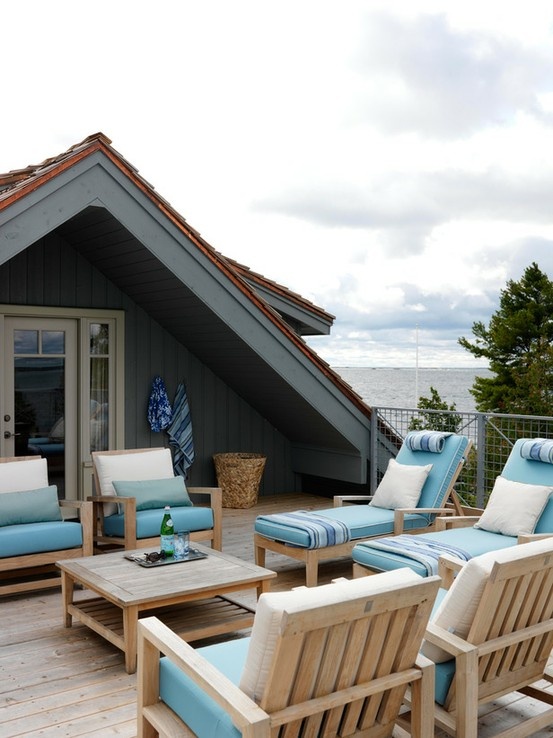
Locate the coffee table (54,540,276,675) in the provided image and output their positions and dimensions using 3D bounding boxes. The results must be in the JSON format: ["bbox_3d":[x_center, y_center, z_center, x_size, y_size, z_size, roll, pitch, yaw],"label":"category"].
[{"bbox_3d":[-0.488,1.104,3.158,0.753,0.295,0.746,3,-3,-33],"label":"coffee table"}]

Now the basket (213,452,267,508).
[{"bbox_3d":[-0.424,1.229,7.156,0.613,0.512,0.578,1,-1,-3],"label":"basket"}]

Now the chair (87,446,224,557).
[{"bbox_3d":[-0.912,1.050,4.711,0.812,0.833,0.660,2,-4,-45],"label":"chair"}]

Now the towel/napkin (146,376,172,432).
[{"bbox_3d":[-1.244,0.392,6.806,0.287,0.609,0.169,2,2,-31],"label":"towel/napkin"}]

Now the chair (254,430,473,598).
[{"bbox_3d":[0.680,0.919,4.423,1.564,0.918,0.852,2,-3,-33],"label":"chair"}]
